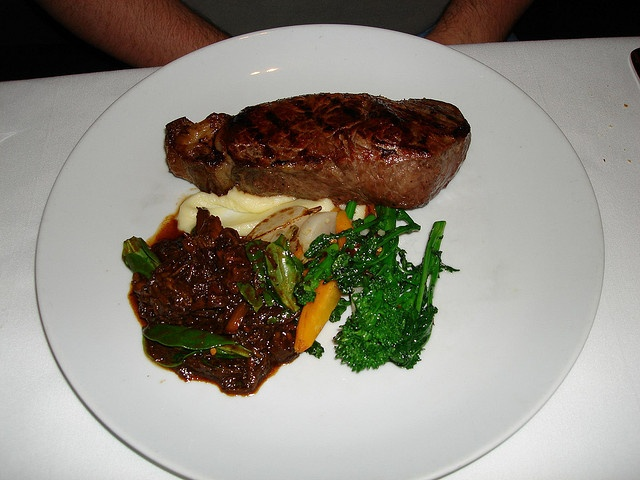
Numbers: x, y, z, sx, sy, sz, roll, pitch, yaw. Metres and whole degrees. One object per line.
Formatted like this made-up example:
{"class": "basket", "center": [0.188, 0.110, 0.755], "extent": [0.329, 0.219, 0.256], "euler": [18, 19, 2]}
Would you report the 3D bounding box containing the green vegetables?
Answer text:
{"class": "green vegetables", "center": [0.380, 0.309, 3.544], "extent": [0.897, 0.217, 0.996], "euler": [28, 66, 4]}
